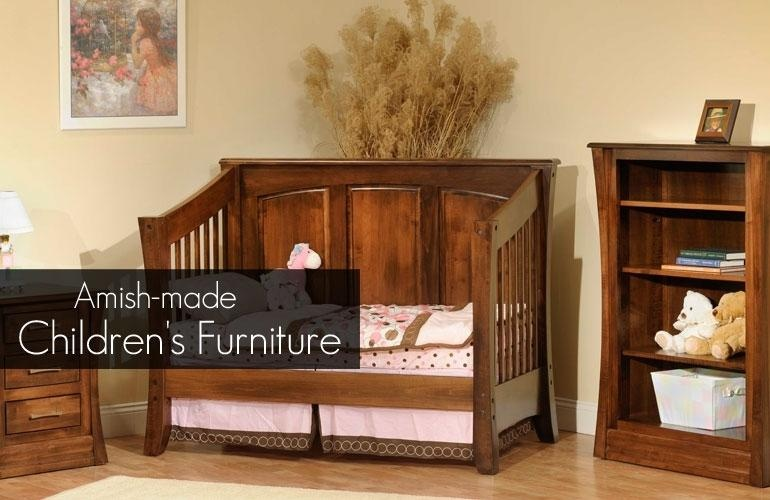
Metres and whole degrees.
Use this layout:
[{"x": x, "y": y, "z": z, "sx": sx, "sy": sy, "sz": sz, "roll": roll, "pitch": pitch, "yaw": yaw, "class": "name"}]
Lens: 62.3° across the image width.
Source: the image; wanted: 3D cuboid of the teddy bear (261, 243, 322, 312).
[{"x": -0.465, "y": 0.134, "z": 3.629, "sx": 0.398, "sy": 0.413, "sz": 0.249, "roll": -7, "pitch": -11, "yaw": 29, "class": "teddy bear"}]

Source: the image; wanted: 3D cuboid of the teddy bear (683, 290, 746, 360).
[{"x": 1.663, "y": 0.370, "z": 3.173, "sx": 0.276, "sy": 0.323, "sz": 0.300, "roll": -3, "pitch": 0, "yaw": 10, "class": "teddy bear"}]

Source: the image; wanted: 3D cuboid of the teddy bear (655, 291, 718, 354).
[{"x": 1.561, "y": 0.374, "z": 3.272, "sx": 0.231, "sy": 0.277, "sz": 0.253, "roll": -10, "pitch": 8, "yaw": -35, "class": "teddy bear"}]

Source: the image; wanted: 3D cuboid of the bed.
[{"x": -0.178, "y": 0.260, "z": 3.482, "sx": 1.980, "sy": 1.533, "sz": 1.054, "roll": 0, "pitch": 7, "yaw": 22, "class": "bed"}]

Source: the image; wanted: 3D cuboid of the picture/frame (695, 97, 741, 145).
[{"x": 1.640, "y": -0.642, "z": 3.146, "sx": 0.154, "sy": 0.236, "sz": 0.213, "roll": 5, "pitch": 8, "yaw": 43, "class": "picture/frame"}]

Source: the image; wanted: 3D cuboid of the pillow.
[{"x": -0.880, "y": 0.250, "z": 3.456, "sx": 0.353, "sy": 0.109, "sz": 0.302, "roll": -3, "pitch": 46, "yaw": -23, "class": "pillow"}]

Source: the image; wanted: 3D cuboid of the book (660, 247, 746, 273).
[{"x": 1.567, "y": 0.045, "z": 3.141, "sx": 0.363, "sy": 0.109, "sz": 0.152, "roll": 1, "pitch": 6, "yaw": 13, "class": "book"}]
